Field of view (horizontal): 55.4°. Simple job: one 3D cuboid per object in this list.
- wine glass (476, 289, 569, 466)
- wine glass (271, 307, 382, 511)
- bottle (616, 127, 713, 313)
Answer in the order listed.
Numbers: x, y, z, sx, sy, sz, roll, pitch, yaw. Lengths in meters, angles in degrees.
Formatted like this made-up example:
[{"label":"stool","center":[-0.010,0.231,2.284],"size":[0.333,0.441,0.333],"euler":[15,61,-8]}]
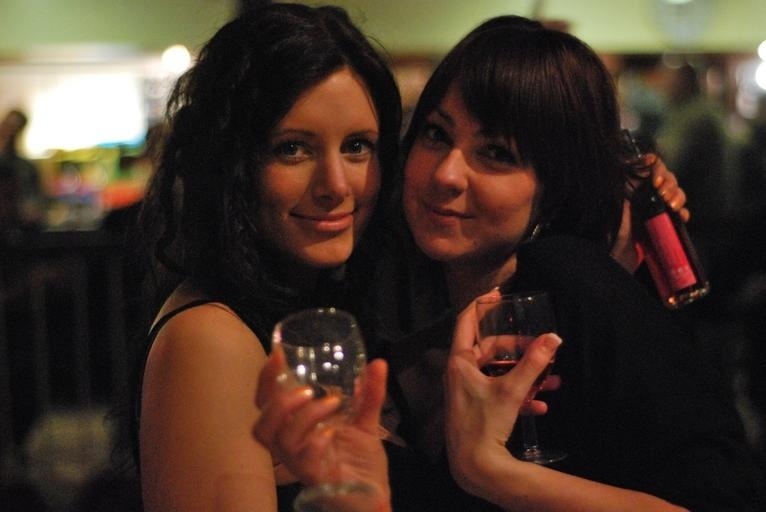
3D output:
[{"label":"wine glass","center":[0.387,0.338,1.984],"size":[0.239,0.499,0.129],"euler":[-6,17,-15]},{"label":"wine glass","center":[-0.138,0.420,1.840],"size":[0.239,0.600,0.164],"euler":[-2,16,1]},{"label":"bottle","center":[0.794,-0.052,2.022],"size":[0.221,0.379,0.105],"euler":[5,17,23]}]
